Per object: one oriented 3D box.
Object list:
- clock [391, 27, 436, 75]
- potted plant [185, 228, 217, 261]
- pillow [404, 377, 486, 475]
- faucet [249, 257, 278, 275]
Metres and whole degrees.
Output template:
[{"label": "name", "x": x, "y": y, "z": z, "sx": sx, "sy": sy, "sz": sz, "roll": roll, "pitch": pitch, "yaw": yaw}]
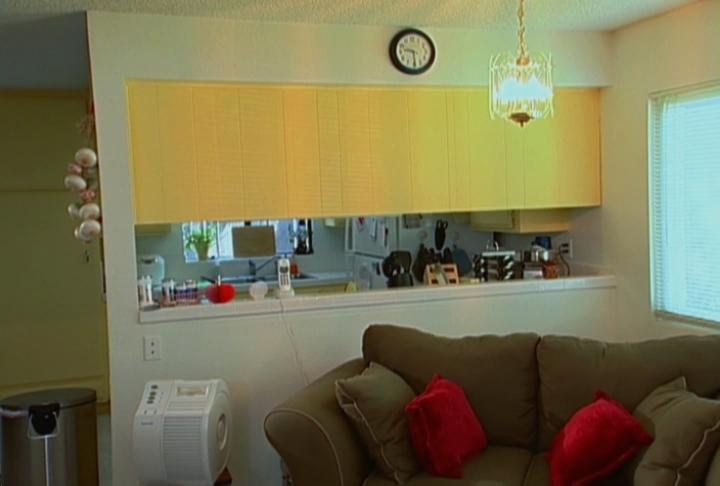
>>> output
[{"label": "clock", "x": 0.427, "y": -1.576, "z": 4.713, "sx": 0.376, "sy": 0.374, "sz": 0.055, "roll": -2, "pitch": 2, "yaw": -18}, {"label": "potted plant", "x": -1.833, "y": 0.015, "z": 6.814, "sx": 0.350, "sy": 0.389, "sz": 0.317, "roll": -3, "pitch": 2, "yaw": -4}, {"label": "pillow", "x": 0.541, "y": 1.165, "z": 3.610, "sx": 0.399, "sy": 0.419, "sz": 0.239, "roll": -20, "pitch": -5, "yaw": -45}, {"label": "faucet", "x": -1.167, "y": 0.275, "z": 6.962, "sx": 0.277, "sy": 0.181, "sz": 0.258, "roll": -1, "pitch": -2, "yaw": 27}]
